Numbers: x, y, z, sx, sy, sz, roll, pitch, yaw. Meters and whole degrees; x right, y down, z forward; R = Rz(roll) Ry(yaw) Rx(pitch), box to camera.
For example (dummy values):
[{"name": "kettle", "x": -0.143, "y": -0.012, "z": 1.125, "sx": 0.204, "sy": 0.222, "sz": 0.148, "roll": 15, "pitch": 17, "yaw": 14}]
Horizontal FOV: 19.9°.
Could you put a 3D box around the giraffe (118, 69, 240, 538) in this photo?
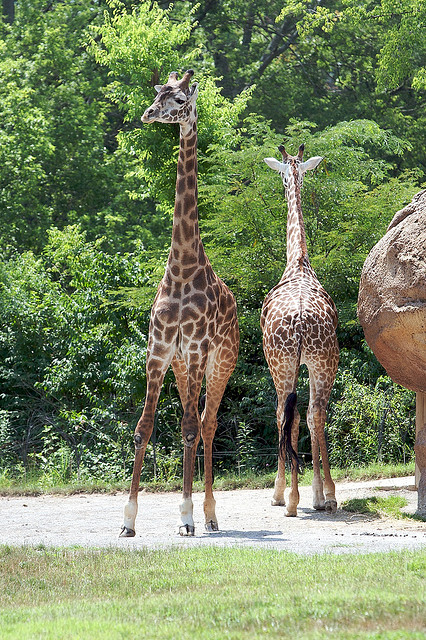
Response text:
[{"name": "giraffe", "x": -0.332, "y": -0.230, "z": 12.794, "sx": 0.939, "sy": 4.946, "sz": 1.582, "roll": -2, "pitch": -7, "yaw": 8}]
